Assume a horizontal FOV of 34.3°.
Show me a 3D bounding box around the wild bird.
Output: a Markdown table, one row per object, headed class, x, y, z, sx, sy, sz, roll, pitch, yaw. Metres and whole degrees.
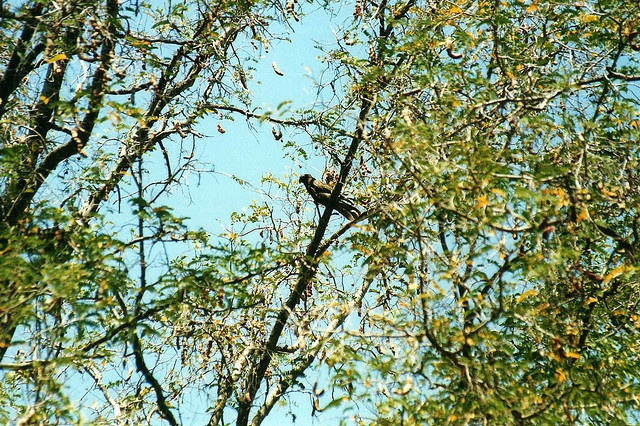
| class | x | y | z | sx | sy | sz | roll | pitch | yaw |
| --- | --- | --- | --- | --- | --- | --- | --- | --- | --- |
| wild bird | 0.106 | -0.181 | 14.309 | 0.904 | 0.615 | 0.328 | 27 | -76 | -5 |
